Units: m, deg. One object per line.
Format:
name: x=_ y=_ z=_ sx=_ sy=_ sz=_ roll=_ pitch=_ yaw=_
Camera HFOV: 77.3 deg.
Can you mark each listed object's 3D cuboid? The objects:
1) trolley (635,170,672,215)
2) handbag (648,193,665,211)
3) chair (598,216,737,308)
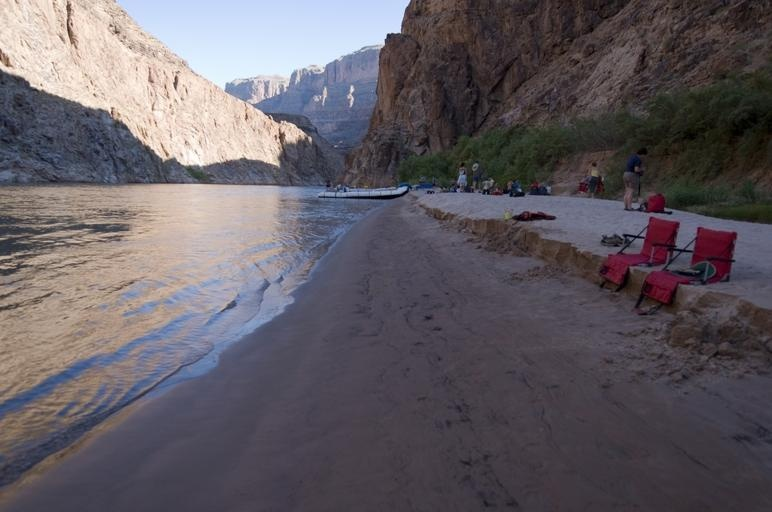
trolley: x=8.369 y=-1.955 z=15.062 sx=1.030 sy=1.228 sz=1.267 roll=-14 pitch=18 yaw=-25
handbag: x=8.276 y=-1.611 z=14.958 sx=0.486 sy=0.514 sz=0.603 roll=-1 pitch=13 yaw=26
chair: x=5.174 y=0.063 z=8.997 sx=1.810 sy=1.300 sz=1.822 roll=-8 pitch=11 yaw=-5
